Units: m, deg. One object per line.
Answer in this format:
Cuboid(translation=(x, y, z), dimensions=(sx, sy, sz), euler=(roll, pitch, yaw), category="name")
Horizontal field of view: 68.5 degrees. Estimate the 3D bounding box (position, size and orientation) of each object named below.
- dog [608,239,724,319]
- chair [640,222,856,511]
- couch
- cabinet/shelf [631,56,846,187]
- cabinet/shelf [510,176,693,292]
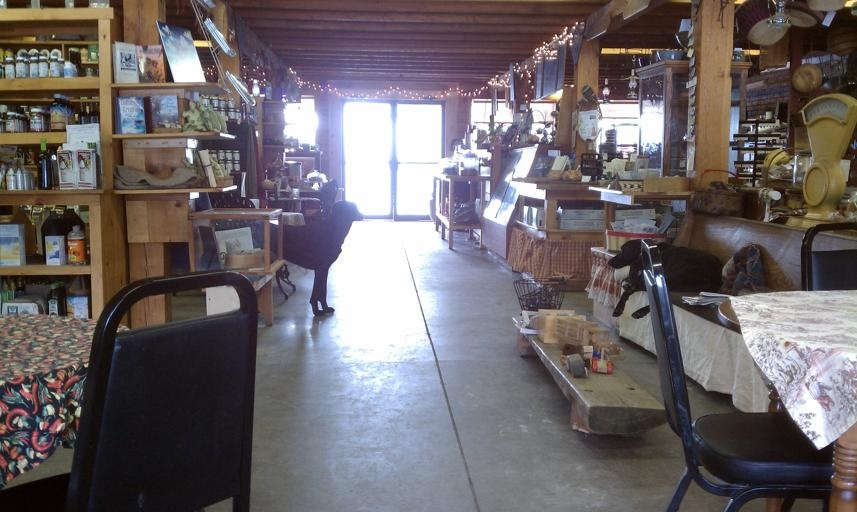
Cuboid(translation=(2.089, 0.138, 5.363), dimensions=(0.811, 0.506, 1.079), euler=(-9, 6, -33), category="dog")
Cuboid(translation=(1.789, 0.542, 3.841), dimensions=(1.315, 1.852, 1.097), euler=(-3, 6, 1), category="chair")
Cuboid(translation=(2.012, 0.374, 4.092), dimensions=(0.621, 0.957, 1.434), euler=(1, 9, -10), category="couch")
Cuboid(translation=(4.076, -1.992, 9.384), dimensions=(1.542, 1.553, 4.225), euler=(6, 11, 33), category="cabinet/shelf")
Cuboid(translation=(1.821, -0.335, 8.195), dimensions=(1.536, 0.912, 1.485), euler=(-2, 11, -10), category="cabinet/shelf")
